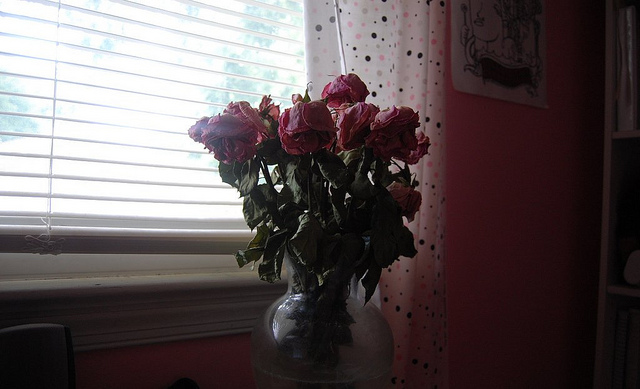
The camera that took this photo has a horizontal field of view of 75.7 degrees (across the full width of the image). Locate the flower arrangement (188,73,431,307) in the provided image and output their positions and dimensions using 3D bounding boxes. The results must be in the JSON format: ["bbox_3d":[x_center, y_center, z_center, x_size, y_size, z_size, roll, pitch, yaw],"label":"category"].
[{"bbox_3d":[0.037,-0.086,1.491,0.682,0.788,0.723,-28,33,-19],"label":"flower arrangement"}]

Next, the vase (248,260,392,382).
[{"bbox_3d":[0.005,0.410,1.407,0.374,0.522,0.386,5,-26,-5],"label":"vase"}]
